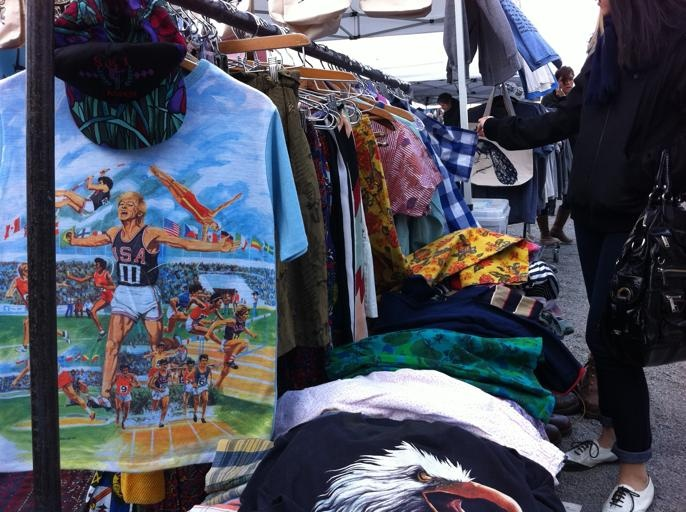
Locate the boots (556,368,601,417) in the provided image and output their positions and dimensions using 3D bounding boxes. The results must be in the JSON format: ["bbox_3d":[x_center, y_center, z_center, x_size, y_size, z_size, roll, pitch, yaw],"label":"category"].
[{"bbox_3d":[0.965,0.554,2.992,0.155,0.108,0.055,24,-3,26],"label":"boots"}]
